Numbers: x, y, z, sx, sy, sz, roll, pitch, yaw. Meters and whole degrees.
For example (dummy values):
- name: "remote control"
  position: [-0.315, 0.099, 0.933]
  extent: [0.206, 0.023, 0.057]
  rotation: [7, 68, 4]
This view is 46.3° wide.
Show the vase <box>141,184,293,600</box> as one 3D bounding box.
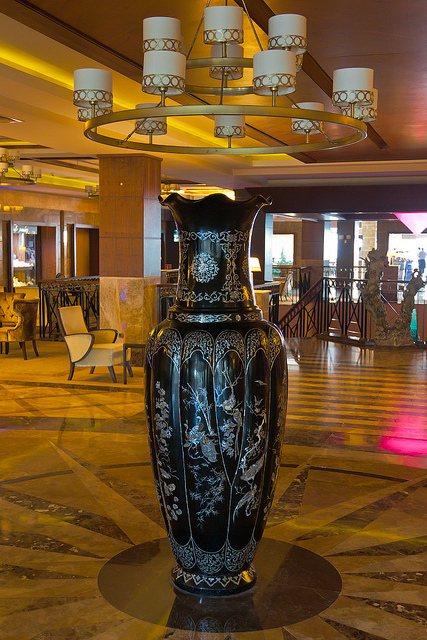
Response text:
- name: "vase"
  position: [0.026, 0.276, 1.829]
  extent: [0.553, 1.376, 0.396]
  rotation: [1, 0, -8]

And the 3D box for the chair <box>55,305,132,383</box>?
- name: "chair"
  position: [-1.749, 0.314, 7.014]
  extent: [1.118, 1.291, 0.889]
  rotation: [0, 4, 6]
